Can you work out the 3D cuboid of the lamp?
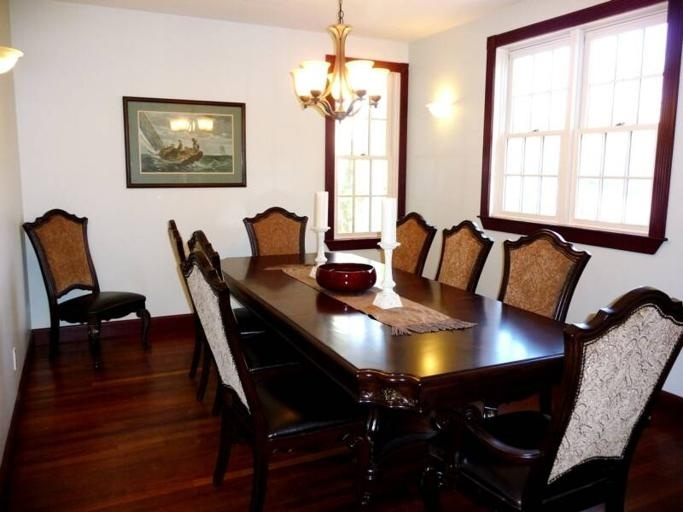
[{"bbox_3d":[-0.064,-1.532,3.840,0.604,1.012,1.206,0,14,-4],"label":"lamp"}]

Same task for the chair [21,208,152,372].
[{"bbox_3d":[-2.185,0.254,4.408,0.718,1.224,0.656,3,7,21],"label":"chair"}]

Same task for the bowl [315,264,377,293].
[{"bbox_3d":[0.026,0.143,3.186,0.238,0.099,0.244,0,3,0],"label":"bowl"}]
